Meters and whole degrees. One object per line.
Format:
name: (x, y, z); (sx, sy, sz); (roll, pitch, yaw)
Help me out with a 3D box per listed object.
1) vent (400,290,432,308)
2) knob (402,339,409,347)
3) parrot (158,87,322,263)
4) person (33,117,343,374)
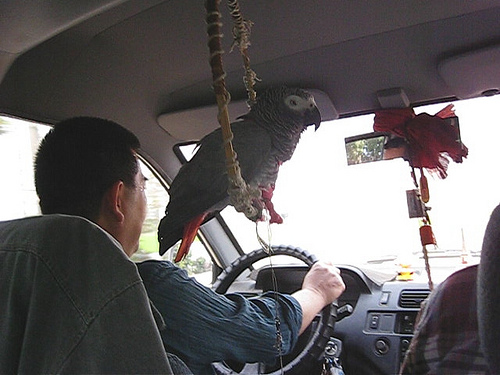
vent: (0.577, 0.388, 1.417); (0.098, 0.058, 0.044); (-6, -13, 23)
knob: (0.518, 0.516, 1.350); (0.014, 0.022, 0.020); (-5, -8, 0)
parrot: (0.005, -0.017, 1.499); (0.557, 0.751, 0.321); (9, -8, -2)
person: (-0.322, 0.230, 1.422); (0.690, 0.977, 0.701); (-13, -12, -35)
